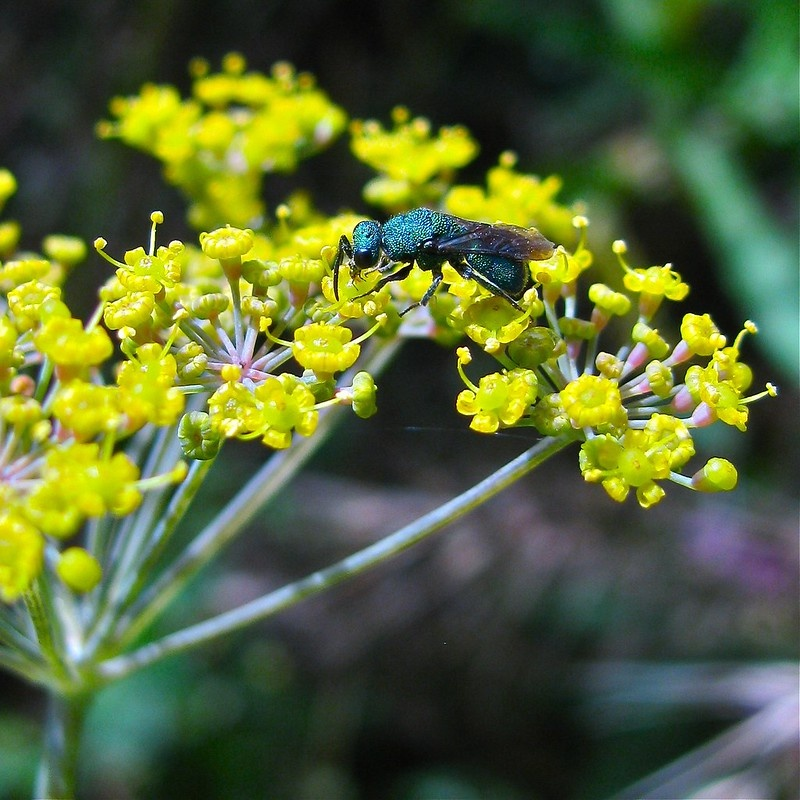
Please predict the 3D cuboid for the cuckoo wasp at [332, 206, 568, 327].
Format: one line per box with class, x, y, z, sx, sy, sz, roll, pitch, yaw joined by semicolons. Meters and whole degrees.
cuckoo wasp;0.063;-0.168;1.049;0.196;0.069;0.134;8;32;8
